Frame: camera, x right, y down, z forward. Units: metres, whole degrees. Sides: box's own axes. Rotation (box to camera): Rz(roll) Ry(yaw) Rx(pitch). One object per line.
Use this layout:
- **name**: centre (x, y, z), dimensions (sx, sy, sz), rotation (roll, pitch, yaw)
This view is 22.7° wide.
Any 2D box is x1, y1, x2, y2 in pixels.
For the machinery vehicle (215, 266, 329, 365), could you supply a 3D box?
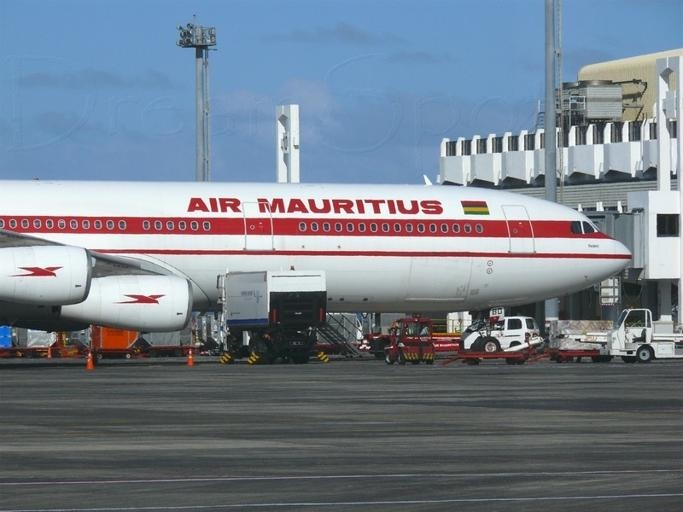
- **machinery vehicle**: centre (-2.179, 1.619, 46.776), dimensions (3.080, 2.474, 1.620), rotation (-6, 5, -29)

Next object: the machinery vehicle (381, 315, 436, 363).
- **machinery vehicle**: centre (1.938, 2.363, 47.443), dimensions (1.426, 1.205, 0.994), rotation (-6, 6, -10)
